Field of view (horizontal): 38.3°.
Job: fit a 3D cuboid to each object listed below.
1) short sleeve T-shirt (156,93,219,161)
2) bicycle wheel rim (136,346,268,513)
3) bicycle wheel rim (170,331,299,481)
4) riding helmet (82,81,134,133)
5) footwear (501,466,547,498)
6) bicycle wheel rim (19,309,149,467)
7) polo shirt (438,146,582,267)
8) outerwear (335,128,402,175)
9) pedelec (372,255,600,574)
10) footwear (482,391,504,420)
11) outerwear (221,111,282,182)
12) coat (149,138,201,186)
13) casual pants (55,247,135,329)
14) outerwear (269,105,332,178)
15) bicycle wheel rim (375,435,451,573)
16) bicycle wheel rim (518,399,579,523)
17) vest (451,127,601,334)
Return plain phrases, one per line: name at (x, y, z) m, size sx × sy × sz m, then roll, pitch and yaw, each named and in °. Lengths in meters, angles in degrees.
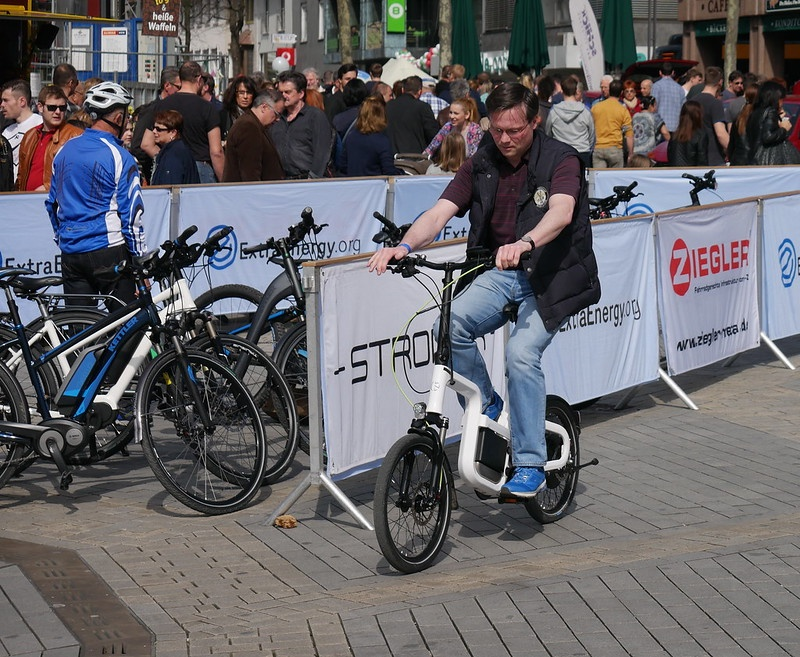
short sleeve T-shirt at (-2.178, -2.015, 11.753) m, size 0.784 × 0.811 × 0.438 m, roll 2°, pitch 12°, yaw -2°
bicycle wheel rim at (-1.216, 0.574, 6.815) m, size 0.766 × 0.960 × 0.628 m, roll -5°, pitch 11°, yaw -24°
bicycle wheel rim at (-1.090, 0.462, 7.275) m, size 0.202 × 0.856 × 0.877 m, roll -22°, pitch 20°, yaw 25°
riding helmet at (-2.002, -1.483, 7.828) m, size 0.251 × 0.311 × 0.320 m, roll 16°, pitch 12°, yaw 27°
footwear at (0.660, 0.810, 6.150) m, size 0.109 × 0.131 × 0.300 m, roll -5°, pitch -11°, yaw 27°
bicycle wheel rim at (-1.854, 0.380, 6.885) m, size 0.791 × 0.939 × 0.197 m, roll 4°, pitch -4°, yaw 2°
polo shirt at (0.693, -0.571, 5.924) m, size 0.533 × 0.206 × 0.723 m, roll 21°, pitch 59°, yaw 27°
outerwear at (-0.385, -1.964, 13.232) m, size 0.670 × 0.679 × 0.411 m, roll 12°, pitch 36°, yaw 9°
pedelec at (0.463, 0.372, 6.216) m, size 0.943 × 1.539 × 1.826 m, roll 1°, pitch 5°, yaw 44°
footwear at (0.513, 0.422, 6.264) m, size 0.063 × 0.075 × 0.194 m, roll -6°, pitch 38°, yaw 37°
outerwear at (-1.528, -1.780, 11.718) m, size 0.548 × 0.805 × 0.918 m, roll 0°, pitch 3°, yaw -13°
coat at (-2.195, -1.481, 11.139) m, size 0.415 × 0.569 × 0.679 m, roll -1°, pitch 4°, yaw -3°
casual pants at (-2.091, -0.187, 7.872) m, size 0.394 × 0.859 × 0.270 m, roll -5°, pitch 8°, yaw 3°
outerwear at (-1.167, -1.956, 12.689) m, size 0.780 × 0.904 × 0.469 m, roll -2°, pitch -4°, yaw 21°
bicycle wheel rim at (0.068, 0.902, 5.888) m, size 0.244 × 0.699 × 0.710 m, roll 2°, pitch 0°, yaw 42°
bicycle wheel rim at (0.814, 0.721, 6.406) m, size 0.302 × 0.641 × 0.664 m, roll -4°, pitch -14°, yaw 33°
vest at (0.696, -0.638, 6.381) m, size 0.799 × 1.063 × 0.687 m, roll 16°, pitch 38°, yaw 31°
